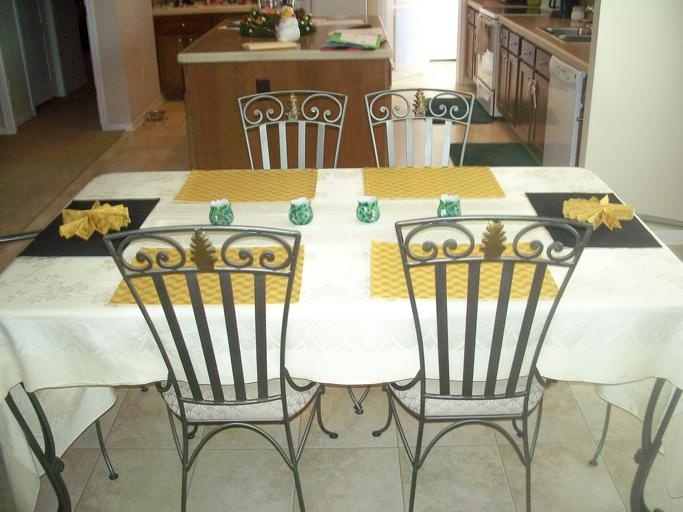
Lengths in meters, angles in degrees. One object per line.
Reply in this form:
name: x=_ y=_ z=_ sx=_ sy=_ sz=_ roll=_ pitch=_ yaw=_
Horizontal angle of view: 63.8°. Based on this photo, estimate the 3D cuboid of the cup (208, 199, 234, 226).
cup: x=-0.423 y=-0.151 z=1.914 sx=0.080 sy=0.092 sz=0.088 roll=2 pitch=41 yaw=-2

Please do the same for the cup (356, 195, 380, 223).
cup: x=0.095 y=-0.175 z=2.003 sx=0.078 sy=0.090 sz=0.087 roll=5 pitch=32 yaw=10

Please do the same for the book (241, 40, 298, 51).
book: x=-0.511 y=-1.492 z=3.866 sx=0.395 sy=0.032 sz=0.271 roll=-3 pitch=32 yaw=-2

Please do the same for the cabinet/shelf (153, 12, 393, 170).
cabinet/shelf: x=-0.432 y=-1.142 z=4.058 sx=1.428 sy=0.823 sz=0.826 roll=-3 pitch=30 yaw=-1

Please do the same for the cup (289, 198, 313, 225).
cup: x=-0.147 y=-0.160 z=1.948 sx=0.079 sy=0.089 sz=0.088 roll=-2 pitch=33 yaw=-7
